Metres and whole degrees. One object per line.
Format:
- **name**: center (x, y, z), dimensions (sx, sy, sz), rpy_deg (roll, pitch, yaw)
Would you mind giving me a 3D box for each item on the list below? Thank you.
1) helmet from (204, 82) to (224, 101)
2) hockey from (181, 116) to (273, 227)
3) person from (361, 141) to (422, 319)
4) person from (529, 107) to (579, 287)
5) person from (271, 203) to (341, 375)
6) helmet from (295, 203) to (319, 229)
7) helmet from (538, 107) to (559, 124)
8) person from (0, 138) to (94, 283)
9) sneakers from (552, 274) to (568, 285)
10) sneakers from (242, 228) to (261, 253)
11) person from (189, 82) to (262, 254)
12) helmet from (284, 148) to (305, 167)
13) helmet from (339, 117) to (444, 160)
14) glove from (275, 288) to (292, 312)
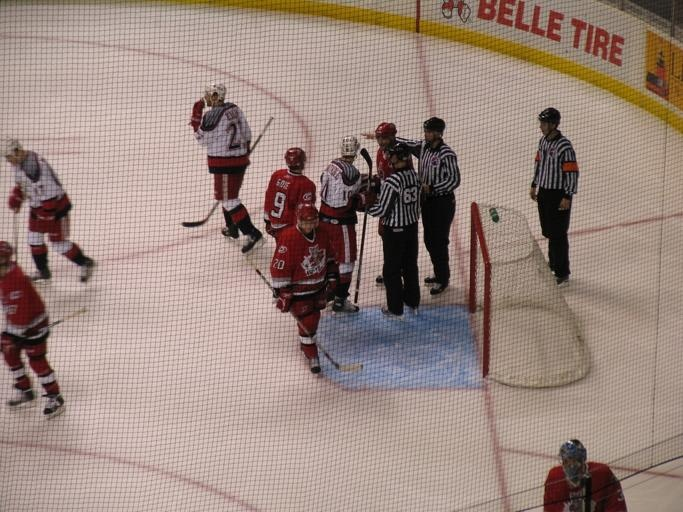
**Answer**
- **helmet**: center (-1.304, -1.699, 9.413), dimensions (0.194, 0.151, 0.183), rpy_deg (-4, 13, -2)
- **hockey**: center (-1.246, -0.869, 9.843), dimensions (0.290, 1.559, 0.174), rpy_deg (37, 17, 5)
- **person**: center (0.524, -0.229, 8.611), dimensions (0.471, 1.648, 0.215), rpy_deg (-14, 17, -36)
- **person**: center (2.134, -0.594, 9.140), dimensions (0.479, 1.776, 0.263), rpy_deg (2, 14, 22)
- **person**: center (-0.313, 0.300, 8.303), dimensions (0.698, 1.609, 0.355), rpy_deg (-9, 14, -22)
- **helmet**: center (-0.294, -0.353, 8.025), dimensions (0.172, 0.206, 0.218), rpy_deg (3, 61, -2)
- **helmet**: center (2.035, -1.378, 8.948), dimensions (0.194, 0.176, 0.155), rpy_deg (13, 19, 21)
- **person**: center (-3.049, -0.415, 9.351), dimensions (0.790, 1.556, 0.671), rpy_deg (-21, 49, -29)
- **sneakers**: center (2.242, 0.244, 9.302), dimensions (0.204, 0.067, 0.097), rpy_deg (-13, -2, 12)
- **sneakers**: center (-0.950, -0.169, 9.599), dimensions (0.215, 0.074, 0.150), rpy_deg (-50, 30, -12)
- **person**: center (-1.211, -0.931, 9.594), dimensions (0.595, 1.738, 0.611), rpy_deg (-7, 14, -15)
- **helmet**: center (-0.445, -0.958, 8.748), dimensions (0.155, 0.176, 0.189), rpy_deg (3, 34, 4)
- **helmet**: center (0.689, -1.187, 8.901), dimensions (0.563, 0.212, 0.417), rpy_deg (-3, 39, 1)
- **glove**: center (-0.527, 0.377, 8.194), dimensions (0.099, 0.246, 0.110), rpy_deg (0, 33, 2)
